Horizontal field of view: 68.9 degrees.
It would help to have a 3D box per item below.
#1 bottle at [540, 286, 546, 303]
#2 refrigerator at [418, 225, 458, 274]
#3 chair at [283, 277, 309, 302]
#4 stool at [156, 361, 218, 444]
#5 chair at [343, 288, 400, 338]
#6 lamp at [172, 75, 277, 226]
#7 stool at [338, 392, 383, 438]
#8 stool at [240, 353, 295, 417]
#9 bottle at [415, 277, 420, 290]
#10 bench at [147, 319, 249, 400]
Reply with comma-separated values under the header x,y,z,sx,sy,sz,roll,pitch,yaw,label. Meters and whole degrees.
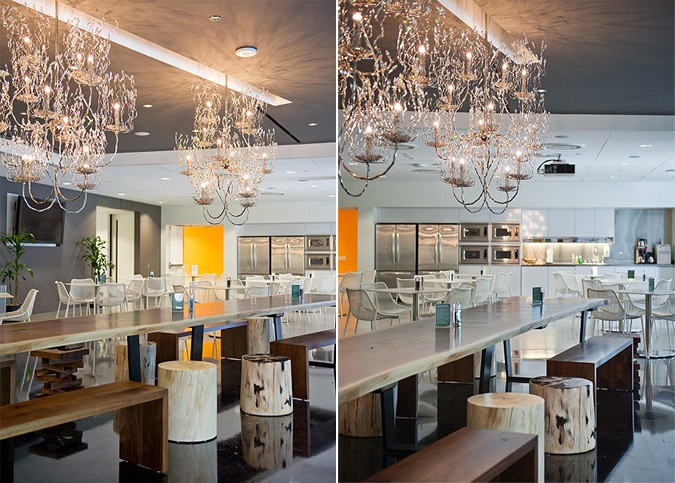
x,y,z,sx,sy,sz,roll,pitch,yaw,label
1.014,0.265,2.434,0.017,0.083,0.030,1,0,18,bottle
0.523,0.051,2.530,0.227,0.362,0.158,0,-5,5,refrigerator
-0.717,0.800,8.239,0.523,0.535,0.952,0,-6,-3,chair
-1.132,1.314,4.206,0.541,0.641,0.560,0,-2,6,stool
0.180,0.355,2.611,0.244,0.352,0.223,-3,1,-31,chair
-1.787,-1.054,8.083,1.016,1.548,1.033,-11,32,-38,lamp
0.175,1.288,3.774,0.318,0.328,0.320,0,-7,5,stool
-0.670,1.319,4.663,0.472,0.496,0.508,2,-3,-11,stool
0.424,0.222,2.593,0.027,0.065,0.077,1,0,10,bottle
-1.406,1.204,5.047,0.898,0.541,0.365,1,2,37,bench
